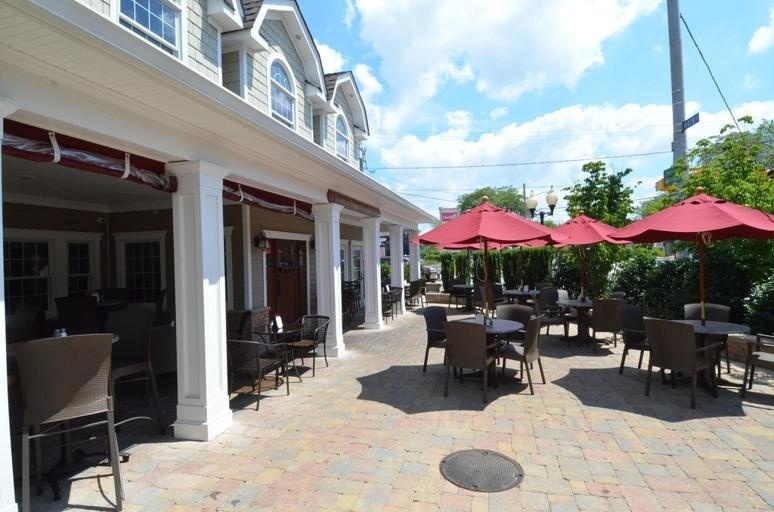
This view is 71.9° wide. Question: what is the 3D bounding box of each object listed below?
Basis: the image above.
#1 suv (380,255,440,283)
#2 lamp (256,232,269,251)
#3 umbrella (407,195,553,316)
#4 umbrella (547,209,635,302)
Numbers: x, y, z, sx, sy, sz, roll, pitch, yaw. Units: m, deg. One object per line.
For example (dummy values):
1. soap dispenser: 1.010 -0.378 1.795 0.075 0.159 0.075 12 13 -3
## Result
1. suv: 1.658 0.821 33.220 2.517 1.105 3.300 1 -2 -24
2. lamp: -3.016 -0.366 12.956 0.164 0.436 0.448 -3 -4 13
3. umbrella: 1.733 -0.197 9.843 1.778 1.432 1.800 0 7 20
4. umbrella: 3.931 -0.314 11.430 1.295 1.370 1.264 22 -16 -12
